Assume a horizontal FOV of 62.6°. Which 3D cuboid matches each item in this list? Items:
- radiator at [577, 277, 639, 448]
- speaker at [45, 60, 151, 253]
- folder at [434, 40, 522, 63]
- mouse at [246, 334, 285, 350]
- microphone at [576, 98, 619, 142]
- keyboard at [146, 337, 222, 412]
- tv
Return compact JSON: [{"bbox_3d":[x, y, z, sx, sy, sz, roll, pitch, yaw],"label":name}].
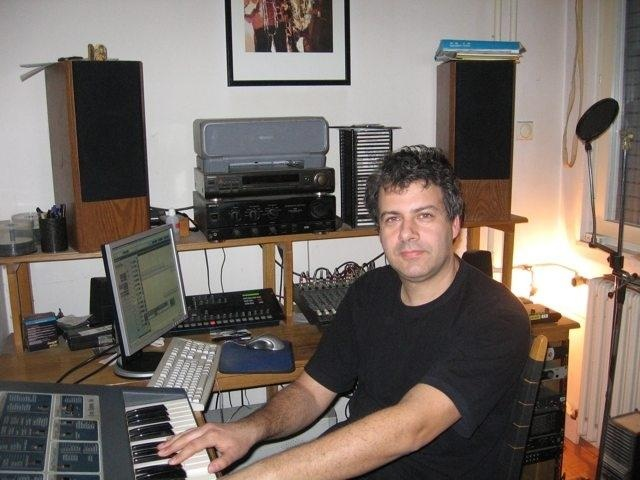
[{"bbox_3d":[1.611,0.709,2.886,0.094,0.968,0.360,-6,9,-23],"label":"radiator"},{"bbox_3d":[-1.033,-0.364,2.335,0.509,0.819,0.263,1,9,23],"label":"speaker"},{"bbox_3d":[0.819,-0.969,2.685,0.447,0.135,0.152,-3,8,-3],"label":"folder"},{"bbox_3d":[-0.247,0.462,2.363,0.113,0.034,0.073,4,6,2],"label":"mouse"},{"bbox_3d":[1.359,-0.574,2.580,0.178,0.228,0.055,35,25,22],"label":"microphone"},{"bbox_3d":[-0.555,0.523,2.240,0.249,0.094,0.512,21,5,-6],"label":"keyboard"},{"bbox_3d":[-0.731,0.262,2.184,0.251,0.608,0.523,3,11,9],"label":"tv"}]
